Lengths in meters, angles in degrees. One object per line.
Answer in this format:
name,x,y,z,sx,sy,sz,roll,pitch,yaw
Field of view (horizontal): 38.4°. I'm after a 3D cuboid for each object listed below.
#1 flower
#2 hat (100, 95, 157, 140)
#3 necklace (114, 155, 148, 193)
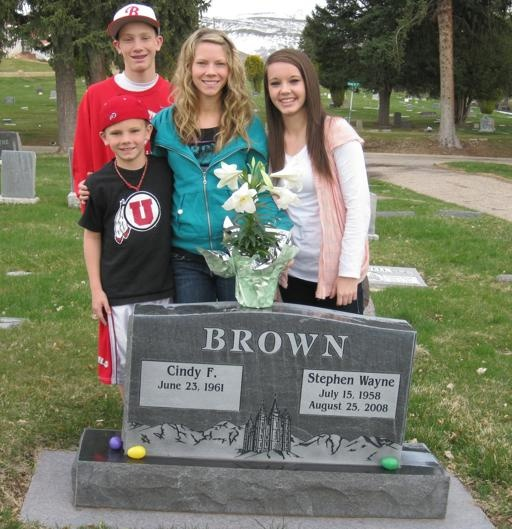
flower,-0.014,-0.263,3.957,0.322,0.356,0.324,2,-12,-34
hat,-0.728,-0.862,4.233,0.192,0.130,0.252,-14,17,26
necklace,-0.718,-0.518,4.221,0.145,0.187,0.048,-6,-17,-9
